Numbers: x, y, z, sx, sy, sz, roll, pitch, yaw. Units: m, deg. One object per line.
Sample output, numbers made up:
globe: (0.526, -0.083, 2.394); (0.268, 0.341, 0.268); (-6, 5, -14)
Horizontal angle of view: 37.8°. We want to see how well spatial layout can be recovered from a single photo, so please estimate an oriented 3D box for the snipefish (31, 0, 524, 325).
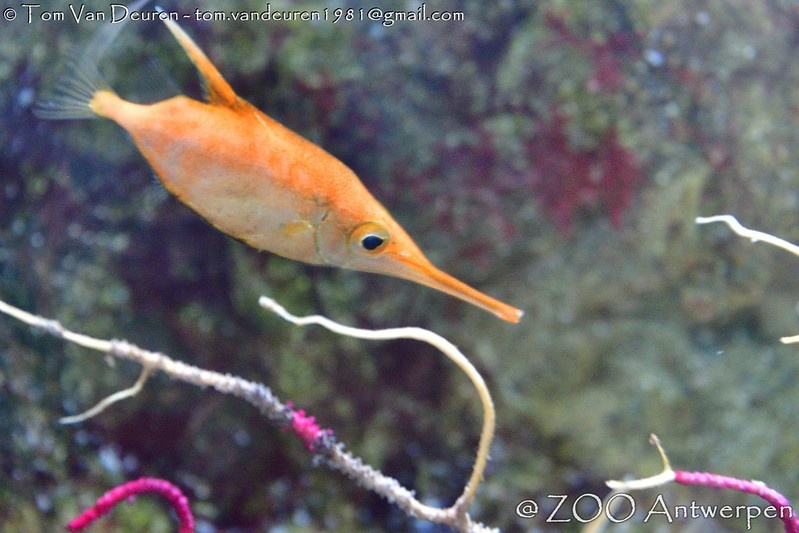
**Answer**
snipefish: (-0.220, -0.182, 1.859); (0.829, 0.147, 0.228); (28, 97, -2)
